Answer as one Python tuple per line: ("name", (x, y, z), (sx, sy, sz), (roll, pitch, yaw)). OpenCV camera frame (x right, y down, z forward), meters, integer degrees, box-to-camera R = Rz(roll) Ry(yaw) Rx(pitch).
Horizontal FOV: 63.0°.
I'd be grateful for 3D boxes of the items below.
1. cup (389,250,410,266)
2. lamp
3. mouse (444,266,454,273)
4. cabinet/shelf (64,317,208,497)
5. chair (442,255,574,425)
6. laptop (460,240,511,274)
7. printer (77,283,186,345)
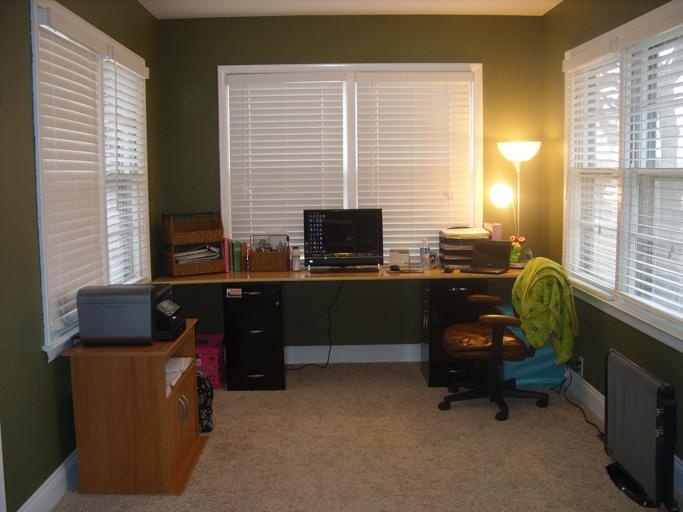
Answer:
("cup", (0.566, 0.016, 5.332), (0.216, 0.206, 0.129), (0, -1, 4))
("lamp", (1.683, -0.630, 5.360), (0.380, 0.929, 0.473), (3, 15, 17))
("mouse", (0.989, 0.125, 5.096), (0.073, 0.072, 0.051), (8, -8, -44))
("cabinet/shelf", (-1.409, 1.085, 4.146), (0.725, 0.978, 1.048), (-2, 3, 4))
("chair", (1.376, 0.663, 4.660), (0.990, 1.283, 1.028), (-1, 6, -2))
("laptop", (1.357, 0.009, 5.083), (0.353, 0.274, 0.323), (1, 3, 22))
("printer", (-1.402, 0.308, 3.699), (0.424, 0.262, 0.492), (-1, 2, -6))
